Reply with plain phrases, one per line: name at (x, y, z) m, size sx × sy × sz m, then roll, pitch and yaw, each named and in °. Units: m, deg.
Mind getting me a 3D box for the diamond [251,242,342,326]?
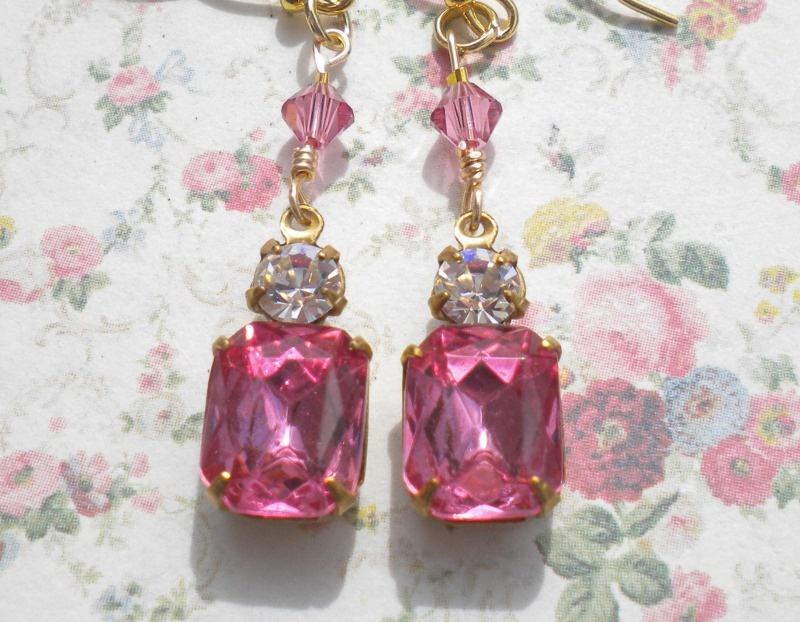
diamond at (-0.159, -0.037, 1.448) m, size 0.127 × 0.065 × 0.133 m, roll 5°, pitch 68°, yaw -6°
